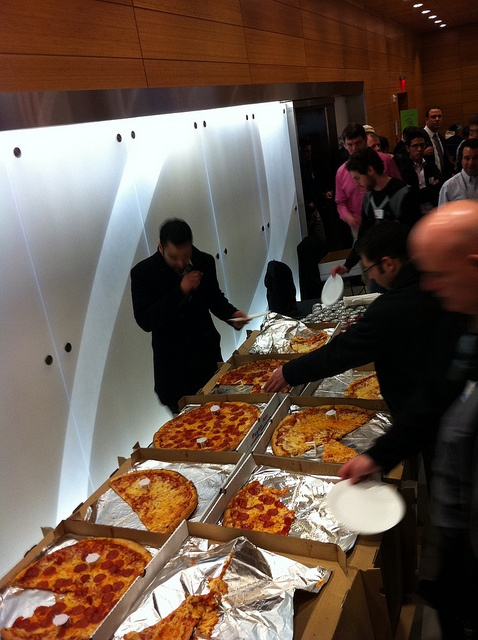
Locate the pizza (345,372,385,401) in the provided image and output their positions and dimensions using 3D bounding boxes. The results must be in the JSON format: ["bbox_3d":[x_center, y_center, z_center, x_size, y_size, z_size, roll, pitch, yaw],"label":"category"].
[{"bbox_3d":[0.739,0.354,2.468,0.161,0.019,0.181,-5,29,47],"label":"pizza"}]

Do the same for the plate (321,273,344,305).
[{"bbox_3d":[0.814,-0.278,3.690,0.047,0.240,0.217,16,13,-30],"label":"plate"}]

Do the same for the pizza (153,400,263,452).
[{"bbox_3d":[-0.179,0.539,2.380,0.581,0.065,0.468,-2,21,28],"label":"pizza"}]

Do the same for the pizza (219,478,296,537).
[{"bbox_3d":[0.062,0.655,1.621,0.270,0.097,0.335,-12,18,-2],"label":"pizza"}]

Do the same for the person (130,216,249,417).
[{"bbox_3d":[-0.315,0.126,3.036,0.690,1.740,0.576,-15,32,-18],"label":"person"}]
